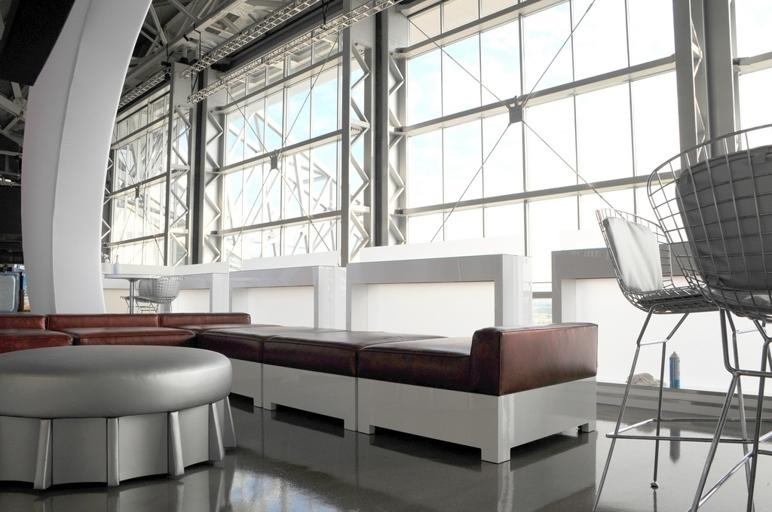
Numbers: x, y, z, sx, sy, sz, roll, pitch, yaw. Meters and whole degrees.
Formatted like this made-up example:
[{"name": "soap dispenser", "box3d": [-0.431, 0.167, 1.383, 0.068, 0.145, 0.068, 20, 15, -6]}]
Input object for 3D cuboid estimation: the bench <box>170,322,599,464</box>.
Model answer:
[{"name": "bench", "box3d": [0.117, 0.761, 3.792, 2.313, 0.885, 0.774, 6, 9, 22]}]
